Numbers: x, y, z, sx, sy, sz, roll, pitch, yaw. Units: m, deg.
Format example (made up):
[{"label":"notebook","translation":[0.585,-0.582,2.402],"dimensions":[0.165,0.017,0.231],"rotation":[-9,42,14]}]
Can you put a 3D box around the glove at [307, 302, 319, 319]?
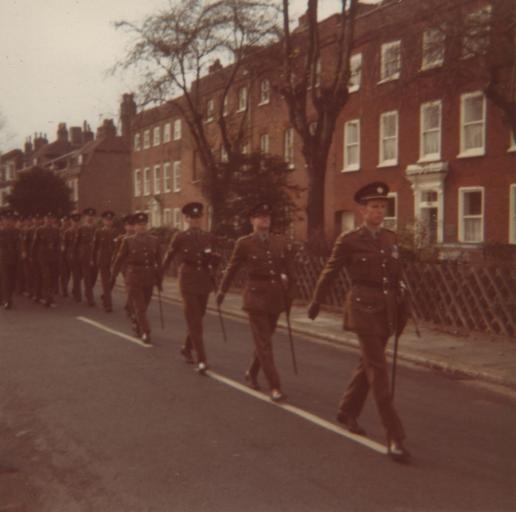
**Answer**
[{"label":"glove","translation":[0.443,0.453,5.497],"dimensions":[0.082,0.143,0.032],"rotation":[6,5,-25]}]

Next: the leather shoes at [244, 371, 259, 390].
[{"label":"leather shoes","translation":[-0.069,1.348,7.366],"dimensions":[0.077,0.114,0.245],"rotation":[9,-3,-27]}]

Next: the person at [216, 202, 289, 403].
[{"label":"person","translation":[-0.002,0.460,6.950],"dimensions":[0.705,1.926,0.716],"rotation":[0,3,4]}]

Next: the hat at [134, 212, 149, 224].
[{"label":"hat","translation":[-1.869,-0.601,10.668],"dimensions":[0.208,0.184,0.371],"rotation":[0,3,-10]}]

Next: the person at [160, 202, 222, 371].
[{"label":"person","translation":[-0.826,0.355,8.327],"dimensions":[0.628,2.031,0.755],"rotation":[0,3,1]}]

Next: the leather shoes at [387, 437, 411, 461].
[{"label":"leather shoes","translation":[1.020,1.407,4.910],"dimensions":[0.169,0.126,0.151],"rotation":[1,3,21]}]

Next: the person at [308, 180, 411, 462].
[{"label":"person","translation":[0.821,0.436,5.369],"dimensions":[0.730,2.069,0.910],"rotation":[1,3,13]}]

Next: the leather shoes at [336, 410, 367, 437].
[{"label":"leather shoes","translation":[0.779,1.395,5.657],"dimensions":[0.093,0.136,0.298],"rotation":[-4,7,-26]}]
